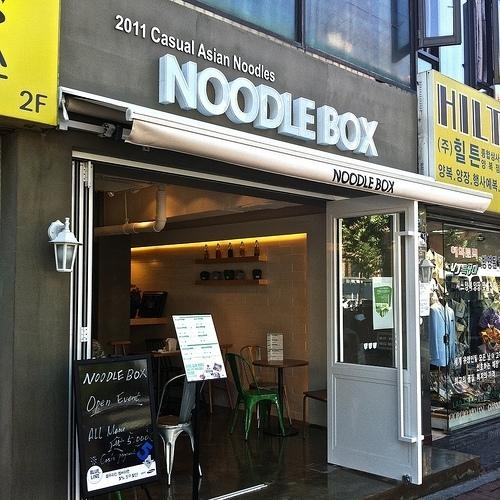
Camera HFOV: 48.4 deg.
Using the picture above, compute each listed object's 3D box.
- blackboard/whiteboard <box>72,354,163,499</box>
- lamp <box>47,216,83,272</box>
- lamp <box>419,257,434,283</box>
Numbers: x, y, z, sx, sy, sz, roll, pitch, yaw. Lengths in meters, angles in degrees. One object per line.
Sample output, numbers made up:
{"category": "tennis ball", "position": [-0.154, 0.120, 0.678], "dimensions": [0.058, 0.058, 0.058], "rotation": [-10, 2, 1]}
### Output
{"category": "blackboard/whiteboard", "position": [-0.830, 1.092, 3.516], "dimensions": [0.177, 0.809, 0.605], "rotation": [-2, -5, 36]}
{"category": "lamp", "position": [-1.097, -0.031, 3.364], "dimensions": [0.175, 0.340, 0.301], "rotation": [0, -5, 13]}
{"category": "lamp", "position": [1.879, 0.218, 5.832], "dimensions": [0.100, 0.256, 0.314], "rotation": [-2, -5, 29]}
